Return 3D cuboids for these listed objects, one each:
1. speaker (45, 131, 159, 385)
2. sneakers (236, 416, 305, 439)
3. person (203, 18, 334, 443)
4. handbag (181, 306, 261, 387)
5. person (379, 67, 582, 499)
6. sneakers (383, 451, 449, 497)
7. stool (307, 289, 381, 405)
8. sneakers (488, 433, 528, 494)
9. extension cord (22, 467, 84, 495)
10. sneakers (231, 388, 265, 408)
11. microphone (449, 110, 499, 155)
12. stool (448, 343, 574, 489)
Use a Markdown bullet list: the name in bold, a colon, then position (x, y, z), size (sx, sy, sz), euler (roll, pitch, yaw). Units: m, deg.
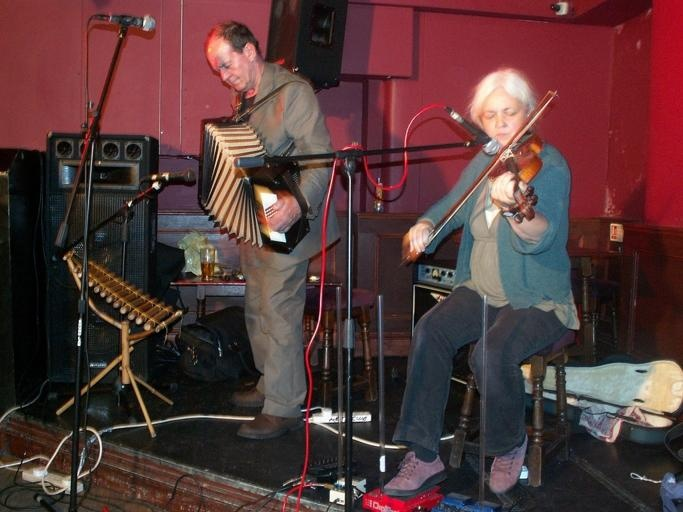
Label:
- **speaker**: position (-1.749, -0.039, 5.346), size (0.755, 1.899, 0.610), euler (-1, 25, -24)
- **sneakers**: position (-0.436, 0.976, 4.391), size (0.295, 0.148, 0.154), euler (1, -1, -18)
- **person**: position (-0.404, -0.129, 4.302), size (0.857, 1.914, 0.618), euler (5, 2, 40)
- **handbag**: position (-0.838, 0.656, 5.303), size (0.523, 0.439, 0.192), euler (-7, -18, -40)
- **person**: position (0.777, 0.312, 3.956), size (0.956, 2.005, 0.583), euler (4, 1, 9)
- **sneakers**: position (0.390, 1.121, 3.866), size (0.348, 0.208, 0.148), euler (-15, 7, -28)
- **stool**: position (-0.036, 0.642, 4.875), size (0.520, 0.688, 0.552), euler (-6, -9, 6)
- **sneakers**: position (0.882, 1.099, 3.983), size (0.121, 0.179, 0.413), euler (3, 18, 19)
- **extension cord**: position (-1.631, 1.284, 4.210), size (0.224, 0.054, 0.075), euler (12, 32, 27)
- **sneakers**: position (-0.587, 0.916, 4.827), size (0.223, 0.174, 0.095), euler (4, -2, 9)
- **microphone**: position (0.655, -0.615, 3.706), size (0.252, 0.204, 0.423), euler (5, 2, 16)
- **stool**: position (1.005, 0.809, 4.290), size (0.532, 0.852, 0.575), euler (4, 3, 28)
